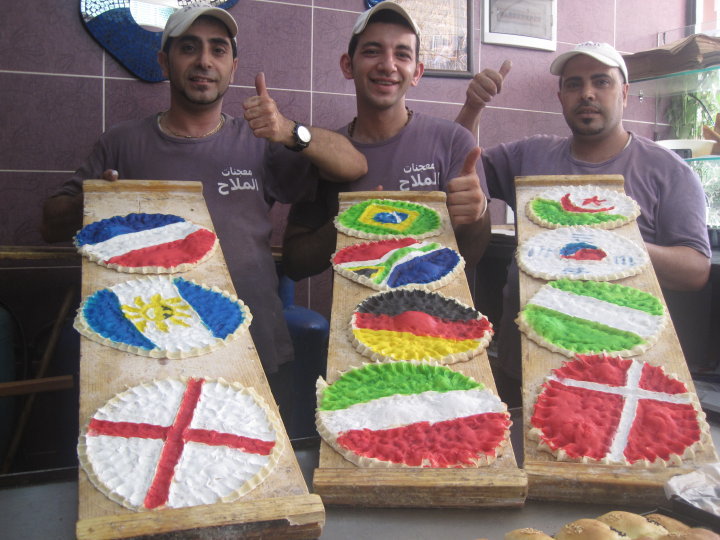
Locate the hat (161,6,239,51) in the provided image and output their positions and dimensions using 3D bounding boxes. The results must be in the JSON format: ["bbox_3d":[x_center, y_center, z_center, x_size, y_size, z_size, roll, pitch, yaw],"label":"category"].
[{"bbox_3d":[-0.580,-0.858,2.394,0.247,0.145,0.193,-10,19,-21],"label":"hat"}]

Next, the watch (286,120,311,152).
[{"bbox_3d":[-0.203,-0.442,2.250,0.080,0.089,0.061,-7,18,-13],"label":"watch"}]
